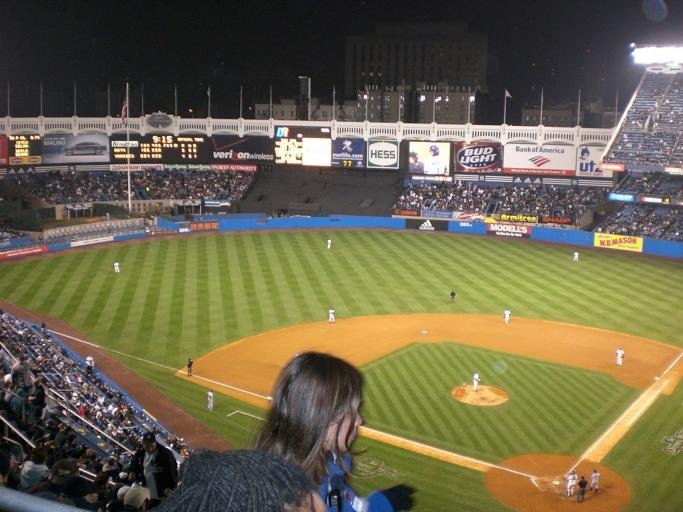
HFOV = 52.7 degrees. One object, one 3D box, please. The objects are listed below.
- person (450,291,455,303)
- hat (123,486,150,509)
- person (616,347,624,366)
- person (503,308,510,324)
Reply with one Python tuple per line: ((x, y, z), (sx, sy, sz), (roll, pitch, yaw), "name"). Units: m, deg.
((7.568, 2.689, 46.788), (0.372, 0.766, 1.310), (3, 11, 9), "person")
((-3.975, 4.702, 13.335), (0.390, 0.361, 0.383), (3, 11, 10), "hat")
((14.967, 5.386, 36.981), (0.386, 0.847, 1.146), (6, 12, 22), "person")
((10.307, 3.829, 42.895), (0.405, 0.892, 0.262), (5, -3, 6), "person")
